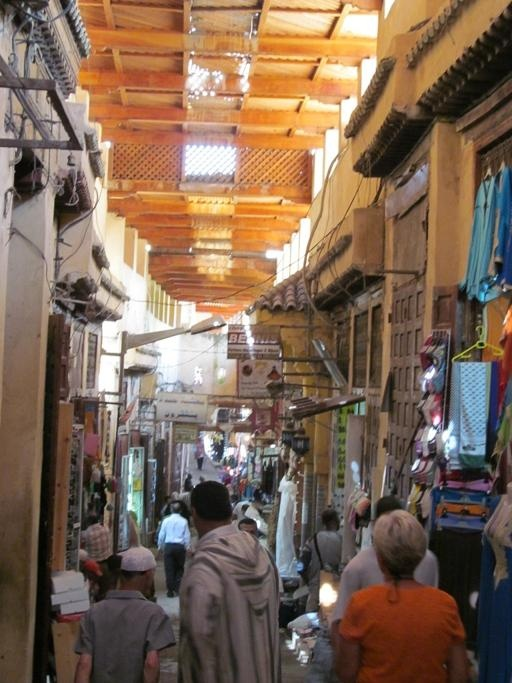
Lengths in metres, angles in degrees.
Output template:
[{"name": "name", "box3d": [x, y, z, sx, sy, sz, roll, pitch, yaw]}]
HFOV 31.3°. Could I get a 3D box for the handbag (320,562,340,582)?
[{"name": "handbag", "box3d": [0.616, 1.970, 7.679, 0.109, 0.150, 0.210, 3, -9, -2]}]
